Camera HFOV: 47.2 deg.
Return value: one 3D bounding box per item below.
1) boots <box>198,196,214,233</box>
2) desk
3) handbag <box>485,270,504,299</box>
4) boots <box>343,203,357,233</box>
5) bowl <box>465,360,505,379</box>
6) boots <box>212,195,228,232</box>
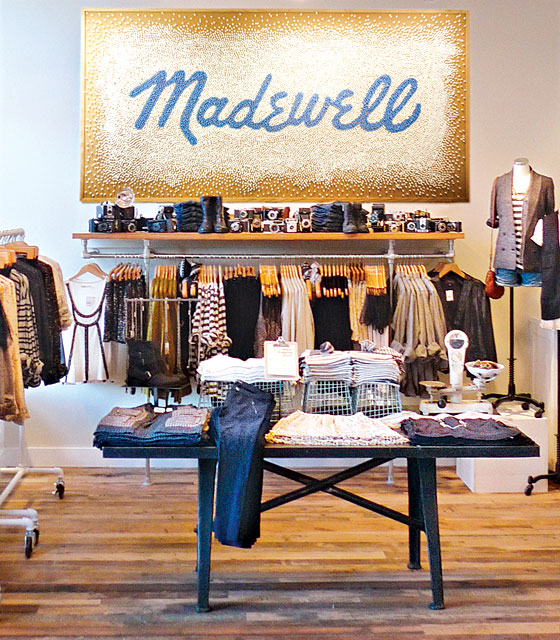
[{"bbox_3d":[-0.499,-0.707,4.333,0.100,0.243,0.136,0,4,-5],"label":"boots"},{"bbox_3d":[0.154,0.819,2.816,1.783,0.621,0.618,2,-8,4],"label":"desk"},{"bbox_3d":[1.418,-0.240,4.246,0.212,0.205,0.072,-4,5,-42],"label":"handbag"},{"bbox_3d":[0.473,-0.691,4.343,0.091,0.209,0.130,1,4,5],"label":"boots"},{"bbox_3d":[1.087,0.257,3.347,0.144,0.049,0.136,-1,4,0],"label":"bowl"},{"bbox_3d":[-0.408,-0.715,4.378,0.096,0.252,0.211,0,3,-3],"label":"boots"}]
